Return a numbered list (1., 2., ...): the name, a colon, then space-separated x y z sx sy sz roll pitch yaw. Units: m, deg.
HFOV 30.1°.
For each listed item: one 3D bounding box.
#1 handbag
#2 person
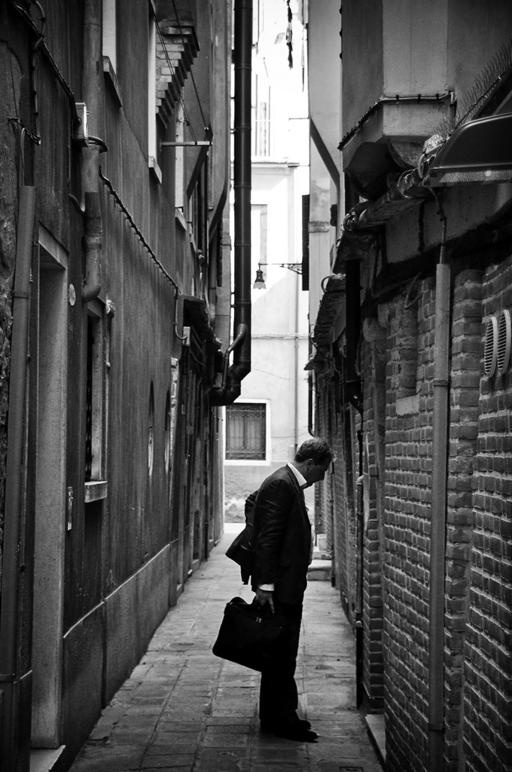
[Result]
1. handbag: -0.047 1.415 5.400 0.385 0.411 0.214 1 -2 2
2. person: 0.186 1.186 5.581 0.482 1.742 0.472 1 -1 -20
